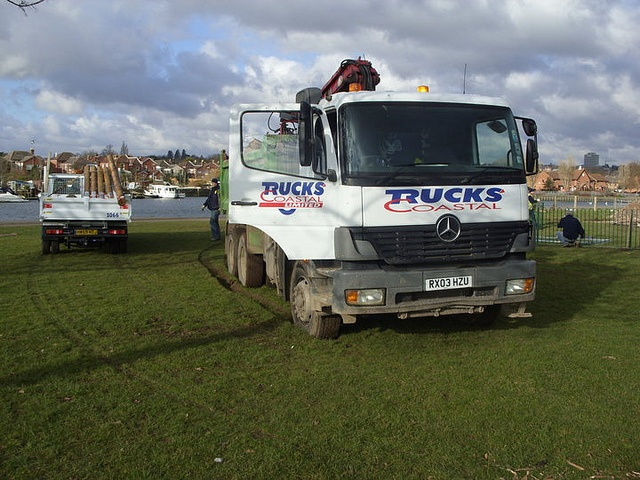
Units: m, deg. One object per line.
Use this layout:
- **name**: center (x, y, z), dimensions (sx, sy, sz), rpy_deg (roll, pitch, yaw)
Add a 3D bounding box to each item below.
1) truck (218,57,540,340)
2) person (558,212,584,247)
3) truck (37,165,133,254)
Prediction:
- **truck**: center (0.239, -0.701, 7.947), dimensions (3.010, 3.025, 5.560), rpy_deg (-1, 3, -22)
- **person**: center (10.319, -0.446, 17.716), dimensions (0.852, 1.495, 0.979), rpy_deg (3, 7, 30)
- **truck**: center (-7.716, -0.924, 14.082), dimensions (2.062, 2.263, 3.669), rpy_deg (-1, 11, -21)
